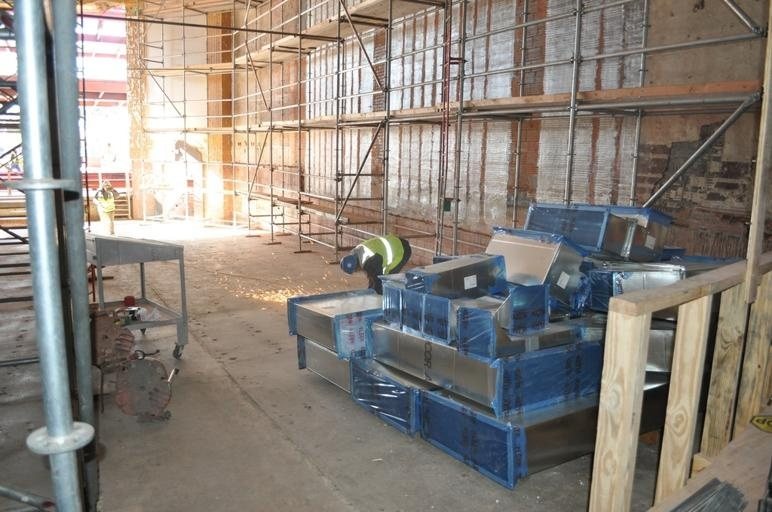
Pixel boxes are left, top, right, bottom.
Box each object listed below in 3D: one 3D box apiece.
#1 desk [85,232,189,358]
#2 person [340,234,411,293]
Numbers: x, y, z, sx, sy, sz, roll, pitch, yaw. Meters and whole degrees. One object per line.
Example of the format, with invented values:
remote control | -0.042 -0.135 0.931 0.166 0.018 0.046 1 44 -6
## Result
desk | -3.743 0.613 8.392 1.057 1.477 1.844 -6 11 -31
person | -0.181 0.100 8.384 1.142 0.889 0.698 -7 16 -10
